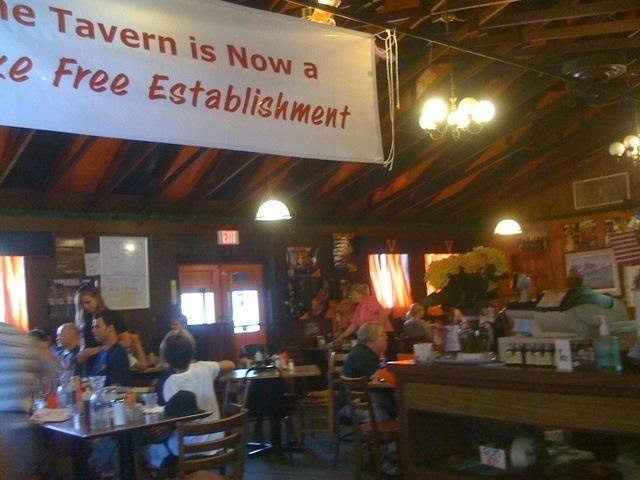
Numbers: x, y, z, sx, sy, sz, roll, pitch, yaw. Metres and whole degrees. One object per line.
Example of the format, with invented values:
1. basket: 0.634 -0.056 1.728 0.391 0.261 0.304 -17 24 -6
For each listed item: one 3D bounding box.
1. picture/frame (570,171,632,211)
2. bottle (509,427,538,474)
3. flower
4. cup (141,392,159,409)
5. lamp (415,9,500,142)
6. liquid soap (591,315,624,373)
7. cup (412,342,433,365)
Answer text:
1. picture/frame: 6.143 -1.039 12.258 0.099 0.509 0.907 10 -13 -34
2. bottle: 1.159 1.195 3.229 0.069 0.183 0.139 21 -13 -34
3. flower: 0.952 0.387 3.814 0.527 0.669 0.629 -8 0 23
4. cup: -1.397 1.301 4.626 0.146 0.147 0.143 -1 -1 0
5. lamp: 1.595 -1.923 6.926 1.336 1.697 1.281 0 2 2
6. liquid soap: 1.499 0.535 2.941 0.123 0.188 0.176 -1 0 30
7. cup: 0.667 0.735 3.657 0.107 0.097 0.134 1 -7 -23
